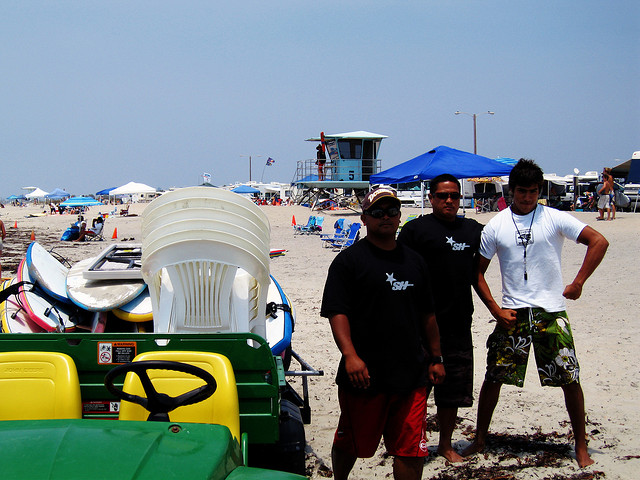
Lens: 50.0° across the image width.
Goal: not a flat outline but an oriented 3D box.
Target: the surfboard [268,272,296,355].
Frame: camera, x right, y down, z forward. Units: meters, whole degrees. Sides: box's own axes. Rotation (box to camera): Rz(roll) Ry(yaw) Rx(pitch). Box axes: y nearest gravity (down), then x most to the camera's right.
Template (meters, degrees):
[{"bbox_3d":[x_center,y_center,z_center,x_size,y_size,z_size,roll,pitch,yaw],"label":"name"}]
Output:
[{"bbox_3d":[-0.397,0.602,6.052,0.207,0.923,0.158,-3,43,1],"label":"surfboard"}]

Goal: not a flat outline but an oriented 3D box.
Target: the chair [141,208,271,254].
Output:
[{"bbox_3d":[-0.920,-0.116,5.361,0.689,0.315,0.647,1,11,0],"label":"chair"}]

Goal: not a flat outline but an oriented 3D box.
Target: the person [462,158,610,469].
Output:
[{"bbox_3d":[1.684,0.577,5.457,1.030,2.417,0.332,1,6,21],"label":"person"}]

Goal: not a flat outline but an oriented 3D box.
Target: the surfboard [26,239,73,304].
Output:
[{"bbox_3d":[-2.748,0.345,6.931,0.075,0.645,0.604,-38,-23,13],"label":"surfboard"}]

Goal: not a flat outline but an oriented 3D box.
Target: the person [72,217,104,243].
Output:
[{"bbox_3d":[-8.541,-0.080,24.988,1.148,0.536,1.297,4,36,-12],"label":"person"}]

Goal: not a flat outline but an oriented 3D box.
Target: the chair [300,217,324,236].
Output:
[{"bbox_3d":[-0.285,-0.497,26.155,0.822,0.562,0.601,-9,4,-18],"label":"chair"}]

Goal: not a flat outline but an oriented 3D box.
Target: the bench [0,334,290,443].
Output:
[{"bbox_3d":[-1.178,1.051,4.823,1.763,0.820,0.129,-1,5,-2],"label":"bench"}]

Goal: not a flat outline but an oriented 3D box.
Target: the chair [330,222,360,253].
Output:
[{"bbox_3d":[0.823,-0.200,19.605,0.368,0.614,0.508,31,-15,-24],"label":"chair"}]

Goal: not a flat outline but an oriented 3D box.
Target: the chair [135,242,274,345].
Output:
[{"bbox_3d":[-0.923,0.482,5.623,0.892,0.950,1.221,1,-35,-7],"label":"chair"}]

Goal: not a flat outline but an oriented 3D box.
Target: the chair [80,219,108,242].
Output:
[{"bbox_3d":[-8.395,-0.239,25.496,0.945,0.847,0.617,1,1,-10],"label":"chair"}]

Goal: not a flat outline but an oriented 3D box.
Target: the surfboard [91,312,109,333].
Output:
[{"bbox_3d":[-2.035,0.767,6.339,0.117,0.214,0.052,1,-15,23],"label":"surfboard"}]

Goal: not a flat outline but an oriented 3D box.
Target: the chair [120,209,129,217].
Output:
[{"bbox_3d":[-14.333,-1.884,49.872,0.416,0.517,0.468,-2,-21,11],"label":"chair"}]

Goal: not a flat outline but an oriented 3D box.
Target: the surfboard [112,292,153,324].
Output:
[{"bbox_3d":[-1.693,0.627,6.307,0.351,0.080,0.351,14,28,-37],"label":"surfboard"}]
